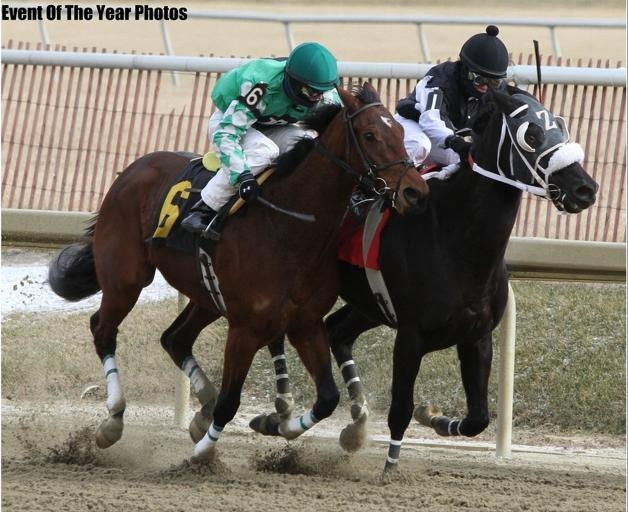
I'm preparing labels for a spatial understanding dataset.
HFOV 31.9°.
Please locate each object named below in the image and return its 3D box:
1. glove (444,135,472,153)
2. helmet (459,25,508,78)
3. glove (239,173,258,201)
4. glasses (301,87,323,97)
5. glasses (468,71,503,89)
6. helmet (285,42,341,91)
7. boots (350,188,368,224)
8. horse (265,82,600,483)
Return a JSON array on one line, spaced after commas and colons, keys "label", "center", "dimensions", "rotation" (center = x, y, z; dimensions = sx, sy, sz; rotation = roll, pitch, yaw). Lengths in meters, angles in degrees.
[{"label": "glove", "center": [0.944, -0.716, 7.162], "dimensions": [0.097, 0.066, 0.160], "rotation": [-35, 41, -21]}, {"label": "helmet", "center": [1.123, -1.347, 7.263], "dimensions": [0.318, 0.358, 0.185], "rotation": [3, 3, 8]}, {"label": "glove", "center": [-0.416, -0.444, 7.066], "dimensions": [0.118, 0.169, 0.048], "rotation": [-14, -1, 23]}, {"label": "glasses", "center": [-0.019, -1.041, 7.017], "dimensions": [0.065, 0.036, 0.093], "rotation": [19, 3, 32]}, {"label": "glasses", "center": [1.123, -1.153, 7.180], "dimensions": [0.158, 0.052, 0.169], "rotation": [6, -29, 4]}, {"label": "helmet", "center": [0.018, -1.230, 7.056], "dimensions": [0.318, 0.228, 0.412], "rotation": [-15, 37, -39]}, {"label": "boots", "center": [0.285, -0.343, 7.465], "dimensions": [0.075, 0.204, 0.142], "rotation": [2, -12, -34]}, {"label": "horse", "center": [0.686, 0.189, 7.815], "dimensions": [0.804, 2.640, 3.334], "rotation": [0, 3, -32]}]
